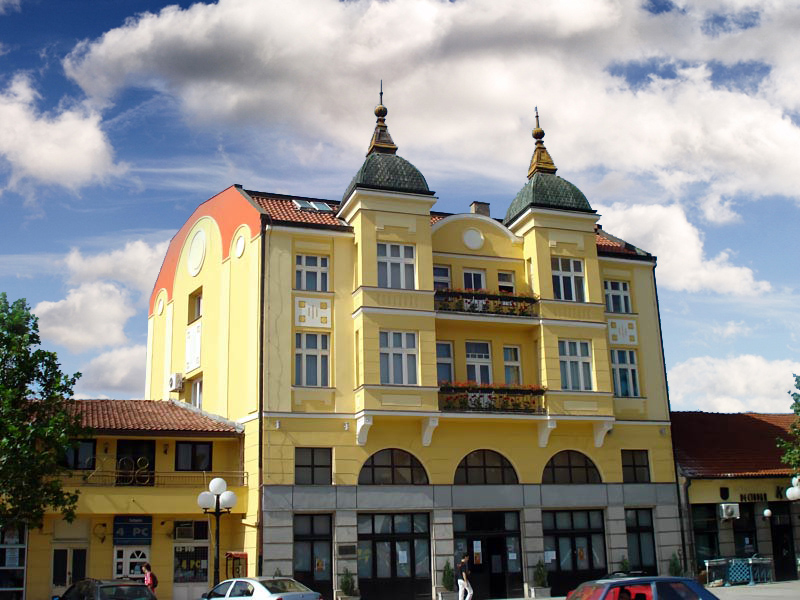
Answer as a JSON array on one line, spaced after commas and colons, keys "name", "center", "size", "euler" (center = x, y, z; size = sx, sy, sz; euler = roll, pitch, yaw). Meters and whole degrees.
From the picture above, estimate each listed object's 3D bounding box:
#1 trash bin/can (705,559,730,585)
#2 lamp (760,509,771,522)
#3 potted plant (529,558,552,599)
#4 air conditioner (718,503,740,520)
[{"name": "trash bin/can", "center": [13.627, 11.778, 42.883], "size": [1.033, 1.038, 0.886], "euler": [1, -9, -3]}, {"name": "lamp", "center": [16.529, 9.660, 44.614], "size": [0.473, 0.559, 0.471], "euler": [11, -23, -31]}, {"name": "potted plant", "center": [5.700, 11.358, 40.347], "size": [0.862, 1.482, 0.683], "euler": [0, -17, -7]}, {"name": "air conditioner", "center": [14.569, 9.342, 43.945], "size": [0.757, 0.758, 0.708], "euler": [2, -14, -13]}]
